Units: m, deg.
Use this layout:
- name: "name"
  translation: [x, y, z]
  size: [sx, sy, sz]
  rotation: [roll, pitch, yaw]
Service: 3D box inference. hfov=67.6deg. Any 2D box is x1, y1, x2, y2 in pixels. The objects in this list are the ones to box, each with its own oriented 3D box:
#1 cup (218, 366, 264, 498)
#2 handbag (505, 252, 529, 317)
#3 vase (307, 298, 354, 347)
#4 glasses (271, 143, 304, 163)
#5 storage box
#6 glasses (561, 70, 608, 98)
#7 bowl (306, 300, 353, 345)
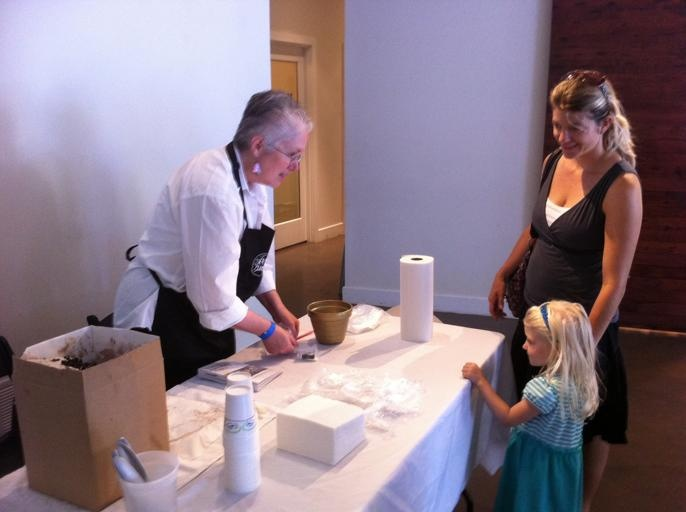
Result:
- name: "cup"
  translation: [-0.244, 0.427, 1.225]
  size: [0.091, 0.273, 0.081]
  rotation: [-6, 15, -16]
- name: "handbag"
  translation: [0.766, 0.118, 2.237]
  size: [0.080, 0.253, 0.170]
  rotation: [9, 7, 31]
- name: "vase"
  translation: [-0.048, 0.255, 1.942]
  size: [0.153, 0.126, 0.156]
  rotation: [2, 6, 25]
- name: "glasses"
  translation: [-0.175, -0.366, 1.831]
  size: [0.078, 0.066, 0.168]
  rotation: [3, 16, 18]
- name: "storage box"
  translation: [-0.615, 0.384, 1.268]
  size: [0.276, 0.366, 0.249]
  rotation: [6, 17, 29]
- name: "glasses"
  translation: [0.919, -0.646, 1.922]
  size: [0.154, 0.103, 0.229]
  rotation: [7, 18, 32]
- name: "bowl"
  translation: [-0.049, 0.257, 1.945]
  size: [0.159, 0.129, 0.158]
  rotation: [-2, 5, 0]
